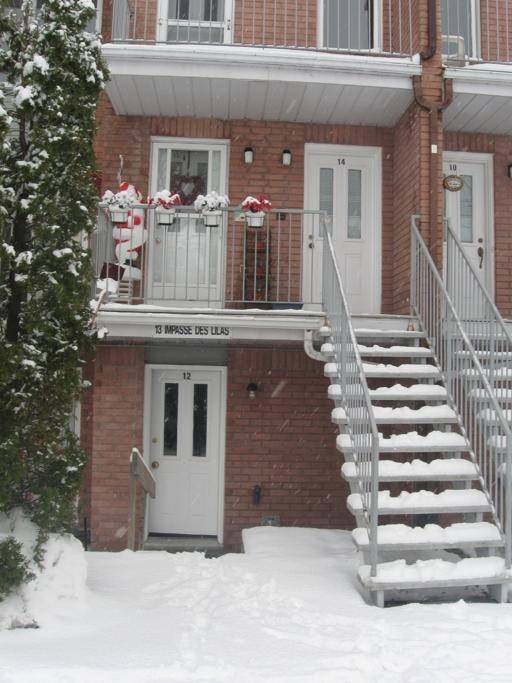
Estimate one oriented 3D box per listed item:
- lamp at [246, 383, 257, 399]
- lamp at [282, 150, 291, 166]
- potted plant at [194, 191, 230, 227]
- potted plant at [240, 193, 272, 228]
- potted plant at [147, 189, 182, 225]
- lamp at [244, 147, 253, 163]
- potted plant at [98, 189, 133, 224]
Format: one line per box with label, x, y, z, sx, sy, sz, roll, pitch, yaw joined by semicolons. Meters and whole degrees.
lamp;-0.046;0.521;10.995;0.109;0.174;0.084;2;4;1
lamp;0.323;-1.911;11.169;0.114;0.180;0.113;1;4;-14
potted plant;-0.401;-1.209;9.853;0.284;0.334;0.314;-2;0;-12
potted plant;-0.013;-1.195;9.939;0.278;0.302;0.286;0;-1;-3
potted plant;-0.854;-1.220;9.931;0.356;0.384;0.292;0;-5;-11
lamp;-0.080;-1.930;11.145;0.099;0.181;0.127;1;4;-1
potted plant;-1.307;-1.250;10.010;0.275;0.303;0.482;1;5;-7
